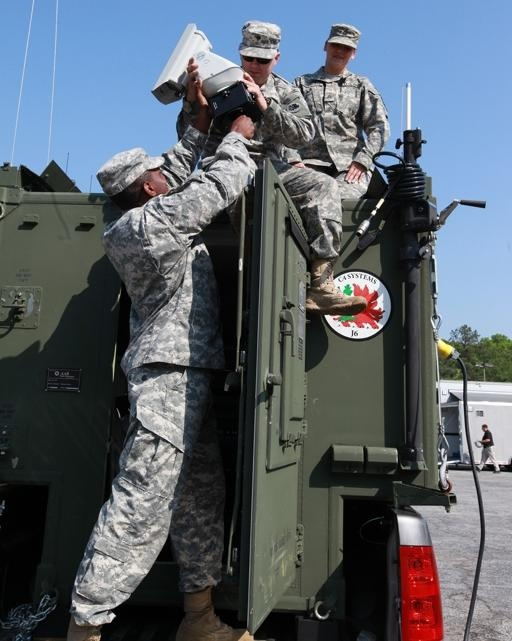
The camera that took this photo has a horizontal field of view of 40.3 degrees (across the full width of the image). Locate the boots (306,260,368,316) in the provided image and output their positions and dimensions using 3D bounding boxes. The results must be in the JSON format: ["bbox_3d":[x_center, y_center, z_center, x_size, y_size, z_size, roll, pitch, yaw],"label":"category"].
[{"bbox_3d":[0.323,-0.143,2.949,0.274,0.209,0.101,-4,-7,27],"label":"boots"}]
